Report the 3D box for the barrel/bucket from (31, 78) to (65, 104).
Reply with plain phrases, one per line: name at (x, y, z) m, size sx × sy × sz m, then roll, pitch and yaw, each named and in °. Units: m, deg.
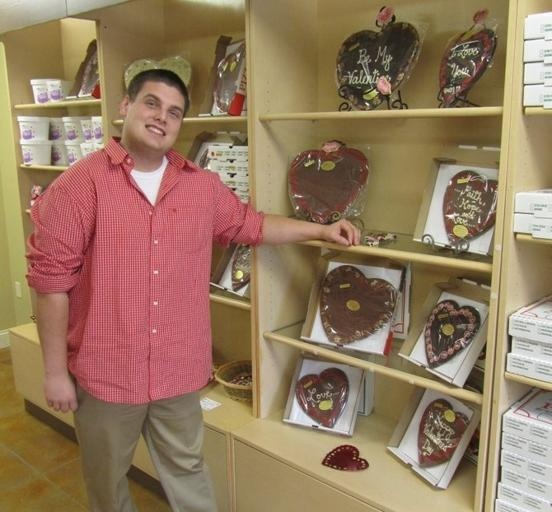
barrel/bucket at (-1.529, -1.089, 2.898) m, size 0.212 × 0.157 × 0.189 m, roll -1°, pitch 12°, yaw 1°
